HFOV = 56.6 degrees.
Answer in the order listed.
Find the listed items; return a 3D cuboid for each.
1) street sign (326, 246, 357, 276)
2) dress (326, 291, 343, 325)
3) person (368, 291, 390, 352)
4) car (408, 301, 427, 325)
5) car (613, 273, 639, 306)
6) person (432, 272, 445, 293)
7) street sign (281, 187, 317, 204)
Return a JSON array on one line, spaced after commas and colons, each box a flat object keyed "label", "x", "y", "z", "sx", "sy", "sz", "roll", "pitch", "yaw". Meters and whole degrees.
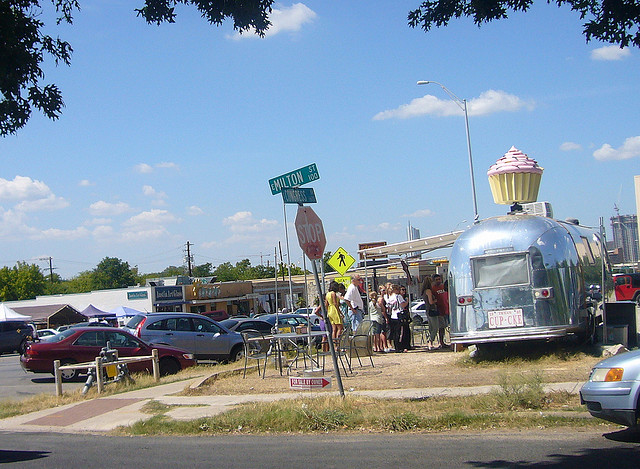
[{"label": "street sign", "x": 0.726, "y": 0.855, "z": 20.012, "sx": 0.982, "sy": 1.019, "sz": 0.031, "roll": -6, "pitch": -1, "yaw": 16}, {"label": "dress", "x": 0.388, "y": 2.070, "z": 16.818, "sx": 0.362, "sy": 0.938, "sz": 0.583, "roll": -5, "pitch": -7, "yaw": 13}, {"label": "person", "x": 1.907, "y": 2.758, "z": 18.992, "sx": 0.594, "sy": 1.929, "sz": 1.122, "roll": -4, "pitch": -6, "yaw": 5}, {"label": "car", "x": 4.798, "y": 3.803, "z": 28.900, "sx": 0.667, "sy": 1.090, "sz": 2.343, "roll": -5, "pitch": -7, "yaw": 9}, {"label": "car", "x": 19.743, "y": 3.350, "z": 37.995, "sx": 1.922, "sy": 1.643, "sz": 0.990, "roll": 1, "pitch": -8, "yaw": -39}, {"label": "person", "x": 3.710, "y": 1.502, "z": 18.660, "sx": 0.365, "sy": 0.573, "sz": 1.104, "roll": -5, "pitch": -7, "yaw": 10}, {"label": "street sign", "x": -0.389, "y": -0.726, "z": 11.018, "sx": 0.802, "sy": 0.327, "sz": 0.266, "roll": 2, "pitch": -9, "yaw": -43}]
